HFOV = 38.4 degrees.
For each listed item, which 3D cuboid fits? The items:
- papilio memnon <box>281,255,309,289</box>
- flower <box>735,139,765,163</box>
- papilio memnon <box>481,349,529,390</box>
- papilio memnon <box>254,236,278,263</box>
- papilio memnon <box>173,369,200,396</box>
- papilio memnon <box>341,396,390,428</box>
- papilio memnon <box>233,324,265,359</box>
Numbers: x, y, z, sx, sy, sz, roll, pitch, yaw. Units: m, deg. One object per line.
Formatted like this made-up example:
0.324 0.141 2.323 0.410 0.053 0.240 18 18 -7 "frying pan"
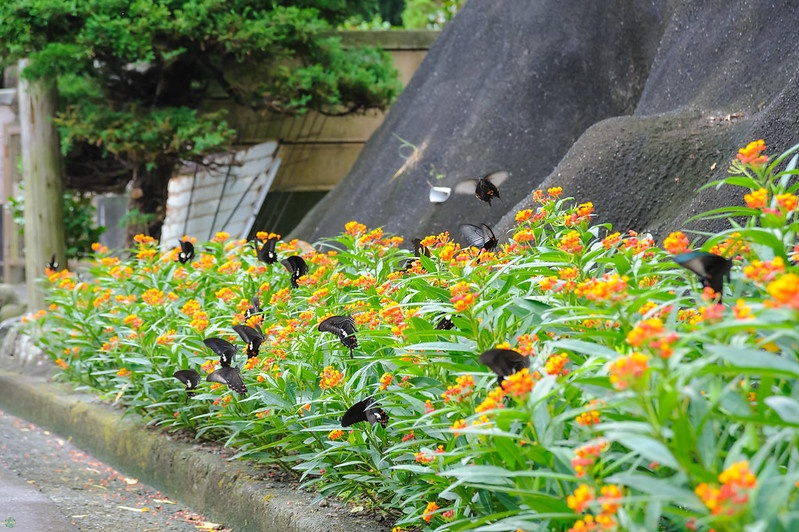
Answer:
-0.675 0.016 7.357 0.172 0.174 0.182 16 19 -32 "papilio memnon"
1.938 -0.624 6.277 0.134 0.121 0.199 23 11 14 "flower"
0.559 0.509 6.109 0.200 0.097 0.199 26 -7 6 "papilio memnon"
-0.884 -0.096 7.668 0.143 0.174 0.200 -15 3 -33 "papilio memnon"
-1.322 0.700 7.237 0.167 0.150 0.107 61 7 -24 "papilio memnon"
-0.206 0.825 6.495 0.185 0.098 0.190 -18 -9 32 "papilio memnon"
-0.914 0.453 6.983 0.148 0.120 0.159 52 10 16 "papilio memnon"
